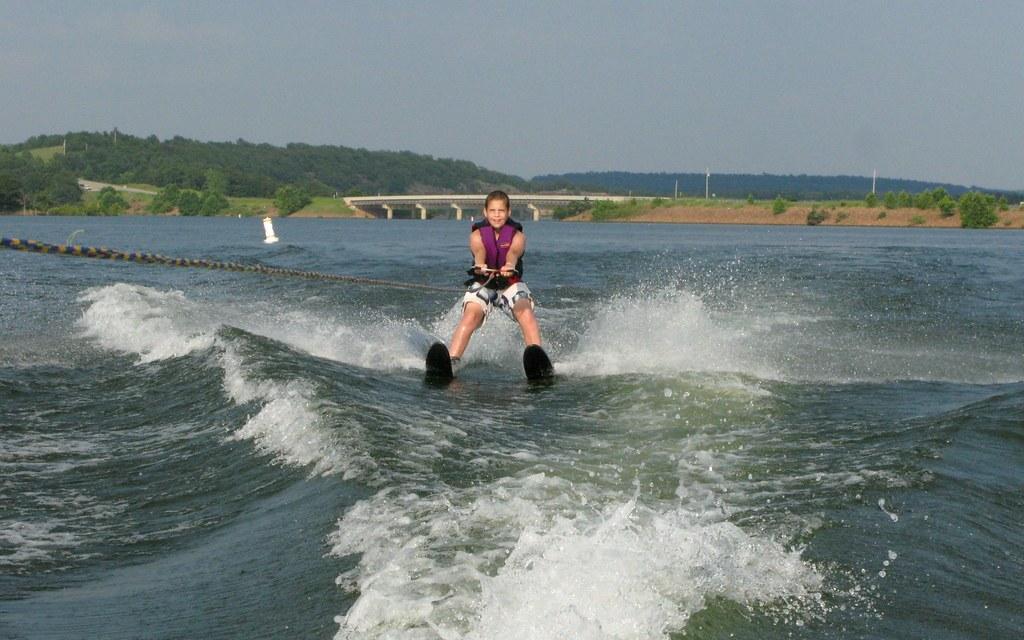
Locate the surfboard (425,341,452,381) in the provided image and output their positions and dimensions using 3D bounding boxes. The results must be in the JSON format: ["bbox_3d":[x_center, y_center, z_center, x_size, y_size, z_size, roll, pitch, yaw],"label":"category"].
[{"bbox_3d":[-0.846,0.471,11.554,0.308,0.392,0.399,-4,8,-4],"label":"surfboard"}]

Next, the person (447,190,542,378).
[{"bbox_3d":[-0.267,-0.511,12.069,1.071,2.013,1.536,-4,8,2],"label":"person"}]

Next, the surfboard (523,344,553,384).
[{"bbox_3d":[0.277,0.509,11.596,0.465,0.252,1.421,-6,2,-3],"label":"surfboard"}]
